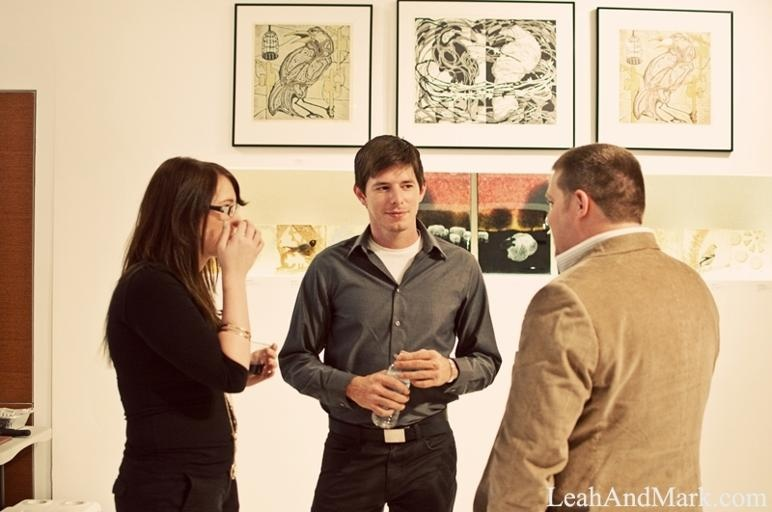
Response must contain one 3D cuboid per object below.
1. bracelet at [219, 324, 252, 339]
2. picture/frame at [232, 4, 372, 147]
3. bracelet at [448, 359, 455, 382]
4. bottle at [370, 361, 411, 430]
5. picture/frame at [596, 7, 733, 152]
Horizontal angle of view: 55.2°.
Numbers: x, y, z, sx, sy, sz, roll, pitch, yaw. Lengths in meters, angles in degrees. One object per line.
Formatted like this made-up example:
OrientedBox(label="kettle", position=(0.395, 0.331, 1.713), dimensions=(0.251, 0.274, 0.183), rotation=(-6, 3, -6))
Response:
OrientedBox(label="bracelet", position=(-0.646, 0.341, 3.207), dimensions=(0.087, 0.022, 0.082), rotation=(15, -5, 19))
OrientedBox(label="picture/frame", position=(-0.498, -1.070, 4.354), dimensions=(0.999, 0.936, 0.034), rotation=(1, 3, 3))
OrientedBox(label="bracelet", position=(0.314, 0.557, 3.567), dimensions=(0.032, 0.081, 0.066), rotation=(-1, 1, 32))
OrientedBox(label="bottle", position=(0.014, 0.670, 3.478), dimensions=(0.166, 0.242, 0.213), rotation=(-2, 1, -6))
OrientedBox(label="picture/frame", position=(1.610, -1.061, 4.378), dimensions=(1.120, 1.007, 0.040), rotation=(0, -1, -7))
